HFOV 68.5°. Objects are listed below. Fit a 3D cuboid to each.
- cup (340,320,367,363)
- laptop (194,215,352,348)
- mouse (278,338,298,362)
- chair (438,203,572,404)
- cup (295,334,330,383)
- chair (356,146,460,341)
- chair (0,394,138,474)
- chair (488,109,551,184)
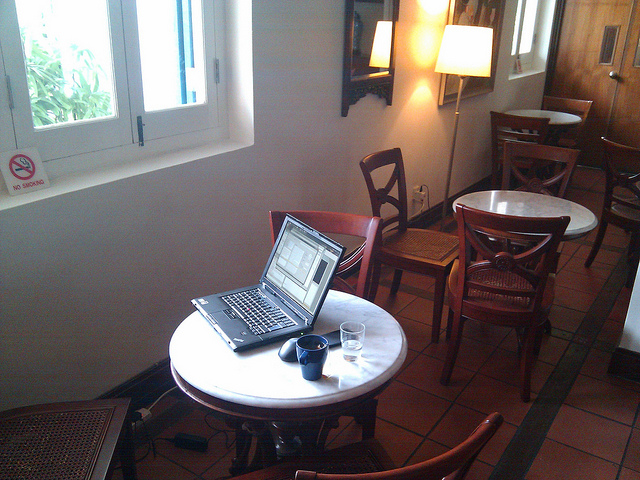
[{"bbox_3d":[0.108,0.351,1.699,0.112,0.135,0.116,-2,26,1],"label":"cup"},{"bbox_3d":[-0.122,0.233,1.900,0.349,0.534,0.495,23,7,-39],"label":"laptop"},{"bbox_3d":[-0.106,0.387,1.643,0.053,0.035,0.087,-21,14,48],"label":"mouse"},{"bbox_3d":[1.019,0.258,2.669,0.559,1.088,0.740,12,29,21],"label":"chair"},{"bbox_3d":[-0.022,0.393,1.576,0.099,0.108,0.148,1,17,3],"label":"cup"},{"bbox_3d":[0.631,0.000,3.106,0.686,1.034,0.670,6,21,15],"label":"chair"},{"bbox_3d":[-0.884,0.701,1.662,0.269,0.186,0.378,4,42,-9],"label":"chair"},{"bbox_3d":[2.056,-0.931,4.815,0.592,0.928,0.646,6,36,20],"label":"chair"}]
